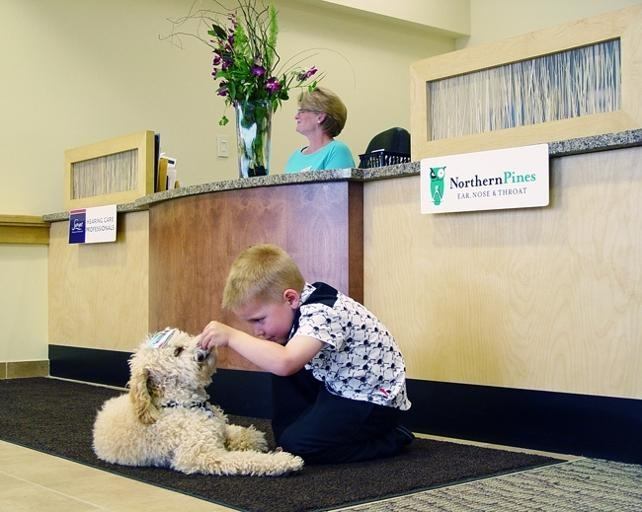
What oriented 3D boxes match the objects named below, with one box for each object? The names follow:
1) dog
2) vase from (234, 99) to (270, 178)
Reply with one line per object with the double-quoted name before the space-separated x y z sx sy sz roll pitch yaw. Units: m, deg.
"dog" -0.360 0.401 1.484 0.546 0.370 0.283 -1 4 4
"vase" -0.319 -0.537 2.481 0.163 0.285 0.226 0 -1 -8
